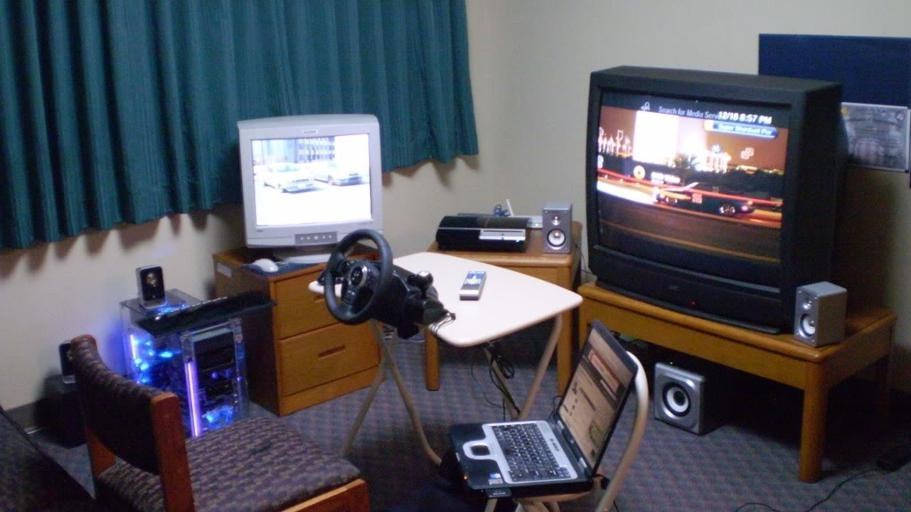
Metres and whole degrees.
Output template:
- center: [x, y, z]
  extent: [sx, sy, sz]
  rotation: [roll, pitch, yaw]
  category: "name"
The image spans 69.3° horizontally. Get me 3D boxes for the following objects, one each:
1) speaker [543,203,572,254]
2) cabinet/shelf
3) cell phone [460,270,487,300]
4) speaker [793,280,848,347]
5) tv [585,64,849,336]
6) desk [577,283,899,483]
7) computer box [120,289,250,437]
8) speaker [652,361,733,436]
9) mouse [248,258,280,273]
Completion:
- center: [0.682, -0.194, 4.454]
  extent: [0.194, 0.314, 0.189]
  rotation: [2, 17, 7]
  category: "speaker"
- center: [-1.162, 0.523, 4.751]
  extent: [0.895, 0.925, 1.080]
  rotation: [6, 10, 43]
  category: "cabinet/shelf"
- center: [0.097, 0.165, 3.580]
  extent: [0.122, 0.057, 0.259]
  rotation: [1, 28, 14]
  category: "cell phone"
- center: [2.041, 0.326, 3.706]
  extent: [0.220, 0.327, 0.192]
  rotation: [-10, 20, -30]
  category: "speaker"
- center: [1.826, -0.442, 4.285]
  extent: [1.234, 1.435, 1.564]
  rotation: [-15, 22, -29]
  category: "tv"
- center: [1.862, 0.654, 4.440]
  extent: [1.146, 0.730, 1.575]
  rotation: [-14, 20, -40]
  category: "desk"
- center: [-1.722, 0.716, 4.272]
  extent: [0.513, 0.734, 0.765]
  rotation: [-16, 29, -41]
  category: "computer box"
- center: [1.449, 0.836, 4.270]
  extent: [0.473, 0.439, 0.455]
  rotation: [-12, 16, -38]
  category: "speaker"
- center: [-1.221, 0.056, 4.278]
  extent: [0.236, 0.062, 0.126]
  rotation: [14, 21, 39]
  category: "mouse"
